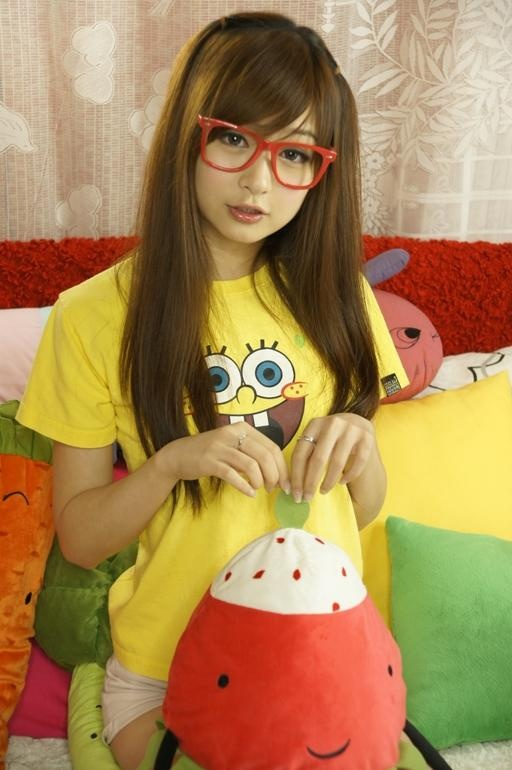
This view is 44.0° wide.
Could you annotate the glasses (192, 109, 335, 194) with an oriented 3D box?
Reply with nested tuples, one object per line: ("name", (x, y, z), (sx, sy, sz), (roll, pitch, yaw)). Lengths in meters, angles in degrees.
("glasses", (0.015, -0.270, 0.748), (0.169, 0.074, 0.076), (1, 17, -9))

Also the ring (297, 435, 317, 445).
("ring", (0.066, 0.068, 0.782), (0.017, 0.012, 0.016), (6, 21, -2))

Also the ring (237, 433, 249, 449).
("ring", (-0.015, 0.067, 0.733), (0.010, 0.014, 0.016), (11, 18, 21))
